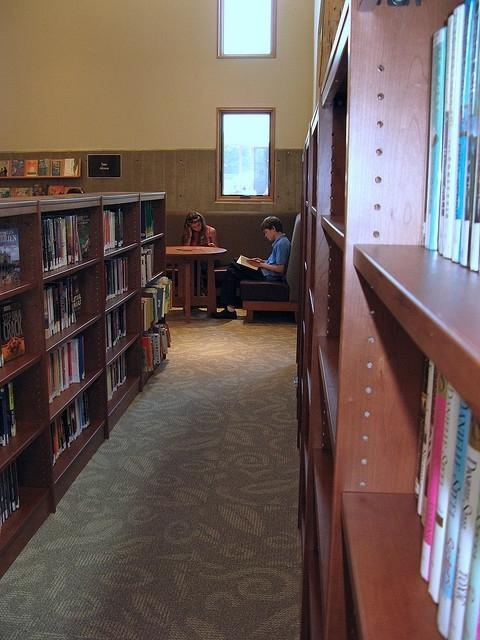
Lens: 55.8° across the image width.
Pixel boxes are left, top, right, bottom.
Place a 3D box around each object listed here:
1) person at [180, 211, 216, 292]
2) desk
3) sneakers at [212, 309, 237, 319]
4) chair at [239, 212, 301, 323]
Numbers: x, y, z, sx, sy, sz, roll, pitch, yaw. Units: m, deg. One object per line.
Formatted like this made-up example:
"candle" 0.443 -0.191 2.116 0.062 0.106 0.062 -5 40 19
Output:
"person" -0.683 -1.082 7.533 0.380 1.474 0.767 1 34 4
"desk" -0.701 -0.722 6.985 0.787 1.097 1.032 -7 19 -19
"sneakers" -0.245 -0.075 6.940 0.262 0.190 0.188 2 1 1
"chair" 0.548 -0.664 6.485 1.057 1.496 1.069 6 11 31
